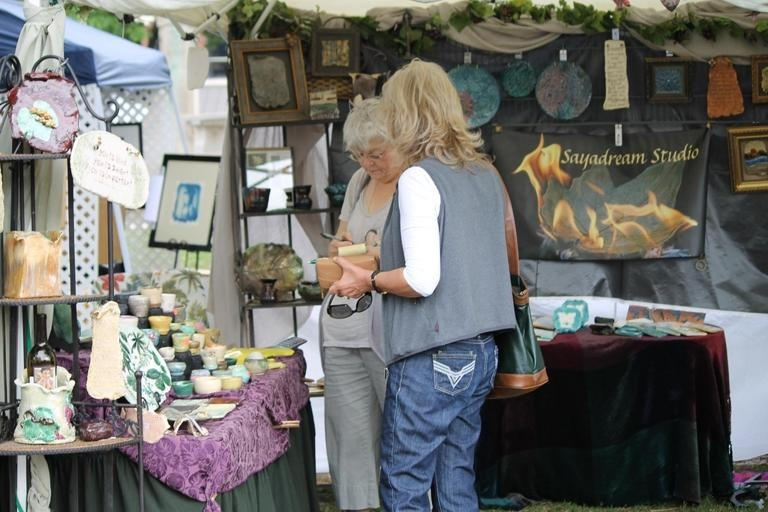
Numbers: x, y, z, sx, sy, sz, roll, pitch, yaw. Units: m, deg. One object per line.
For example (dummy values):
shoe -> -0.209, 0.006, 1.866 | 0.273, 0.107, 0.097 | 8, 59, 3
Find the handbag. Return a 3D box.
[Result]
handbag -> 0.781, 0.183, 7.090 | 0.282, 0.977, 0.472 | -1, 11, 23

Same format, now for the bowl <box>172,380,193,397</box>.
bowl -> -1.176, 0.769, 7.322 | 0.095, 0.061, 0.086 | -1, 2, -11

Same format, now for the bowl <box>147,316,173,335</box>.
bowl -> -1.325, 0.401, 7.411 | 0.109, 0.081, 0.113 | -1, 2, 0

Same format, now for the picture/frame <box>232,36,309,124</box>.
picture/frame -> -0.781, -1.201, 8.604 | 0.532, 0.593, 0.249 | -6, 11, -29

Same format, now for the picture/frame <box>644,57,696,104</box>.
picture/frame -> 2.003, -1.243, 8.811 | 0.299, 0.316, 0.023 | 0, 3, -1

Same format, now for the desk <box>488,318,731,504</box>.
desk -> 1.537, 1.093, 8.382 | 1.299, 1.435, 1.085 | -1, 0, 0

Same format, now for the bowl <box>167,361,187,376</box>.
bowl -> -1.216, 0.657, 7.359 | 0.082, 0.056, 0.085 | 1, -7, 0

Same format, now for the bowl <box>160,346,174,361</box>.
bowl -> -1.271, 0.567, 7.355 | 0.073, 0.053, 0.073 | 1, -4, 0

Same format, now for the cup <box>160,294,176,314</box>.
cup -> -1.322, 0.287, 7.580 | 0.099, 0.114, 0.098 | 1, 3, 0

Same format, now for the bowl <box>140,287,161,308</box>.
bowl -> -1.388, 0.248, 7.438 | 0.107, 0.097, 0.110 | 0, 0, 0

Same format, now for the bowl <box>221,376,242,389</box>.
bowl -> -0.902, 0.736, 7.383 | 0.078, 0.055, 0.077 | 0, 1, 0

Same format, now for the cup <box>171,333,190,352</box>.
cup -> -1.206, 0.507, 7.432 | 0.095, 0.080, 0.094 | -4, -3, 0

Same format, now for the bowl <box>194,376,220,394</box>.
bowl -> -1.033, 0.746, 7.339 | 0.108, 0.068, 0.109 | 1, -2, 0

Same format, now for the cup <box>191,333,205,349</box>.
cup -> -1.128, 0.508, 7.549 | 0.078, 0.091, 0.080 | 2, 6, 0

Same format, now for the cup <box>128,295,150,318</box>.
cup -> -1.443, 0.292, 7.368 | 0.121, 0.129, 0.121 | 1, 4, 0

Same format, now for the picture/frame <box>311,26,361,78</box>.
picture/frame -> -0.345, -1.414, 8.690 | 0.311, 0.328, 0.070 | -4, 8, -20

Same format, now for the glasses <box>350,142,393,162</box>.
glasses -> -0.065, -0.609, 7.404 | 0.131, 0.061, 0.179 | -3, -4, 34

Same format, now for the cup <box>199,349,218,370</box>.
cup -> -1.058, 0.617, 7.546 | 0.101, 0.113, 0.104 | -4, -11, -1
